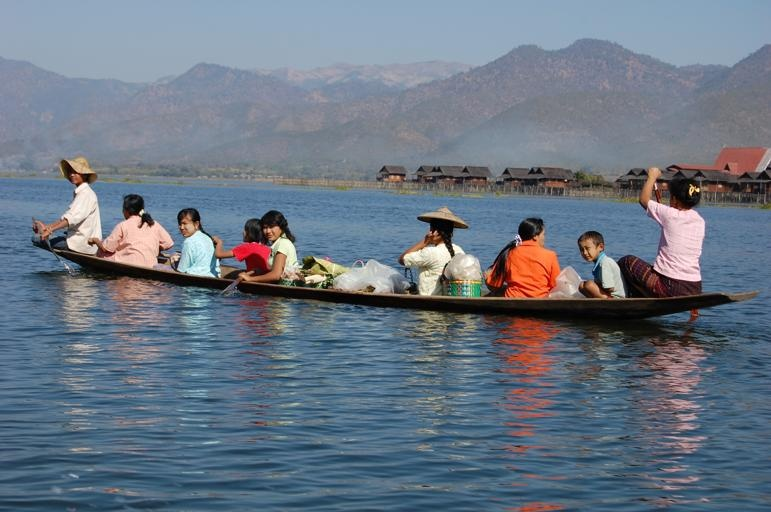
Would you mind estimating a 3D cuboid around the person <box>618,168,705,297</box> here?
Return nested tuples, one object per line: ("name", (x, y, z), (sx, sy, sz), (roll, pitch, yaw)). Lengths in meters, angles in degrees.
("person", (4.764, -0.361, 19.418), (1.194, 2.320, 1.133), (0, 9, -17))

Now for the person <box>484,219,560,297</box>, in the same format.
("person", (2.418, 0.047, 20.259), (1.152, 1.456, 0.520), (6, 9, 26))

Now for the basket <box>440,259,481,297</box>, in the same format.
("basket", (1.274, 0.386, 20.924), (0.979, 0.751, 0.928), (-1, 0, 18))

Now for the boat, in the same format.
("boat", (-0.182, 0.437, 22.412), (18.743, 1.039, 1.996), (-2, -6, 25))
